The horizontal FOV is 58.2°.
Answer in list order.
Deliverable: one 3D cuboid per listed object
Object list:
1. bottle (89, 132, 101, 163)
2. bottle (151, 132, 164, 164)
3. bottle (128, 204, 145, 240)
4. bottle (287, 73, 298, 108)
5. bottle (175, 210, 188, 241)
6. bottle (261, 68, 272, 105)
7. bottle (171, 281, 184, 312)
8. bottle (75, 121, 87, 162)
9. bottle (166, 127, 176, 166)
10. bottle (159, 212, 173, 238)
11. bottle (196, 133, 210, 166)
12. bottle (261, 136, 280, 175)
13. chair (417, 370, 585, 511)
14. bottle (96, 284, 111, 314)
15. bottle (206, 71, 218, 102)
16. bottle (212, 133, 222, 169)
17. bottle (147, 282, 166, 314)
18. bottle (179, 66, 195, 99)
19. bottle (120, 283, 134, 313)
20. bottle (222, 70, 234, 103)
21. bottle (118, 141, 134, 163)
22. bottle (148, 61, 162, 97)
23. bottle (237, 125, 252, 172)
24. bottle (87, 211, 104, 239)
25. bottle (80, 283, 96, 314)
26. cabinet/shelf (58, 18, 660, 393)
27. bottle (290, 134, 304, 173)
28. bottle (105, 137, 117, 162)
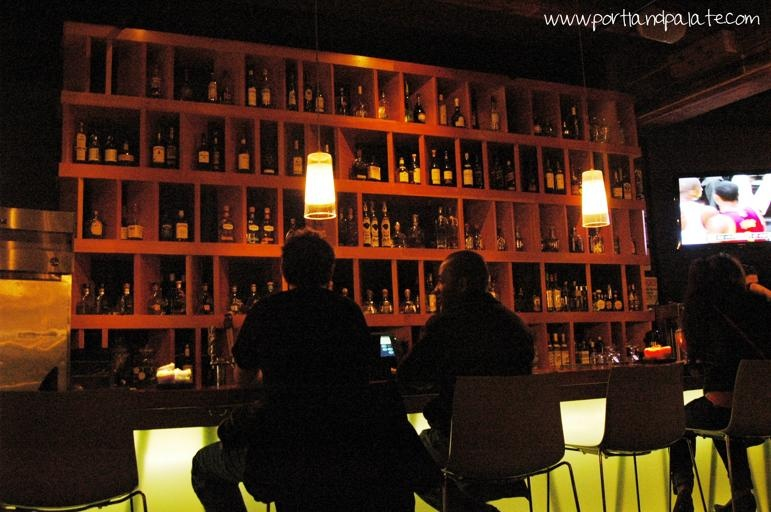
[{"bbox_3d":[-2.207,-0.814,5.262,0.092,0.273,0.294,0,-4,-23],"label":"bottle"},{"bbox_3d":[-1.746,-0.825,5.340,0.108,0.293,0.195,0,-4,-24],"label":"bottle"},{"bbox_3d":[-1.872,-0.258,5.212,0.105,0.284,0.164,0,-4,-18],"label":"bottle"},{"bbox_3d":[-0.754,-1.335,5.614,0.080,0.331,0.079,-2,-4,0],"label":"bottle"},{"bbox_3d":[-1.551,-0.230,5.292,0.101,0.246,0.167,-1,-4,-16],"label":"bottle"},{"bbox_3d":[-0.958,-1.355,5.602,0.079,0.359,0.166,-1,-4,-9],"label":"bottle"},{"bbox_3d":[-1.551,0.310,5.212,0.097,0.249,0.142,0,-4,-17],"label":"bottle"},{"bbox_3d":[-2.285,-0.841,5.205,0.077,0.328,0.256,0,-4,-22],"label":"bottle"},{"bbox_3d":[-1.653,-0.849,5.382,0.078,0.341,0.164,-1,-4,-16],"label":"bottle"},{"bbox_3d":[-1.678,-0.232,5.327,0.100,0.226,0.175,0,-4,-16],"label":"bottle"},{"bbox_3d":[-1.418,-0.817,5.405,0.109,0.292,0.182,-1,-4,-14],"label":"bottle"},{"bbox_3d":[-0.921,-0.786,5.507,0.126,0.316,0.155,-1,-4,-13],"label":"bottle"},{"bbox_3d":[0.541,0.995,3.861,0.684,0.962,0.622,-1,-6,0],"label":"chair"},{"bbox_3d":[-2.103,0.322,5.151,0.084,0.205,0.195,0,-4,-22],"label":"bottle"},{"bbox_3d":[-1.380,-1.344,5.529,0.081,0.324,0.260,-1,-4,-15],"label":"bottle"},{"bbox_3d":[-1.334,-0.815,5.498,0.078,0.302,0.172,-1,-4,-10],"label":"bottle"},{"bbox_3d":[-1.710,0.314,5.175,0.115,0.237,0.174,0,-4,-19],"label":"bottle"},{"bbox_3d":[-1.569,-1.357,5.475,0.093,0.363,0.304,-1,-4,-16],"label":"bottle"},{"bbox_3d":[-1.906,0.319,5.105,0.083,0.214,0.188,0,-4,-20],"label":"bottle"},{"bbox_3d":[-1.251,-1.324,5.500,0.083,0.261,0.098,0,-4,-19],"label":"bottle"},{"bbox_3d":[-1.988,-0.791,5.340,0.105,0.214,0.308,0,-4,-19],"label":"bottle"},{"bbox_3d":[-1.802,-1.362,5.404,0.084,0.311,0.171,2,-5,-41],"label":"bottle"},{"bbox_3d":[-1.115,-0.840,5.461,0.118,0.386,0.131,-1,-4,-12],"label":"bottle"},{"bbox_3d":[-2.136,-0.231,5.127,0.115,0.226,0.183,0,-4,-23],"label":"bottle"},{"bbox_3d":[-2.171,0.312,5.056,0.092,0.209,0.111,1,-5,-28],"label":"bottle"},{"bbox_3d":[-0.055,-0.482,5.981,5.076,2.250,0.600,2,-5,-20],"label":"cabinet/shelf"},{"bbox_3d":[-0.706,-0.807,5.605,0.108,0.349,0.169,-1,-4,-8],"label":"bottle"},{"bbox_3d":[-2.098,-0.810,5.302,0.091,0.255,0.258,0,-4,-21],"label":"bottle"}]
